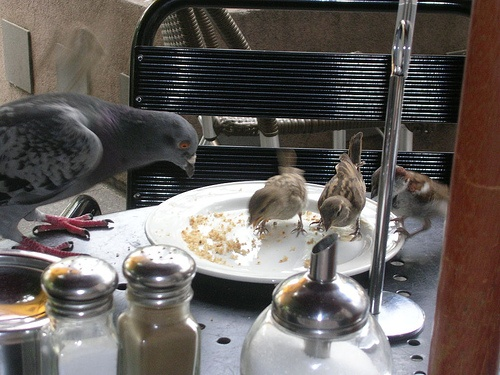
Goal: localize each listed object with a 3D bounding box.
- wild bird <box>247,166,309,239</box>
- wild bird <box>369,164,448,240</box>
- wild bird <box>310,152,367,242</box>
[{"bbox_3d":[0.047,0.024,1.032,0.062,0.142,0.063,6,-16,20],"label":"wild bird"},{"bbox_3d":[0.295,0.016,0.990,0.209,0.112,0.072,-7,30,-39],"label":"wild bird"},{"bbox_3d":[0.146,0.014,0.933,0.059,0.137,0.077,9,5,31],"label":"wild bird"}]
